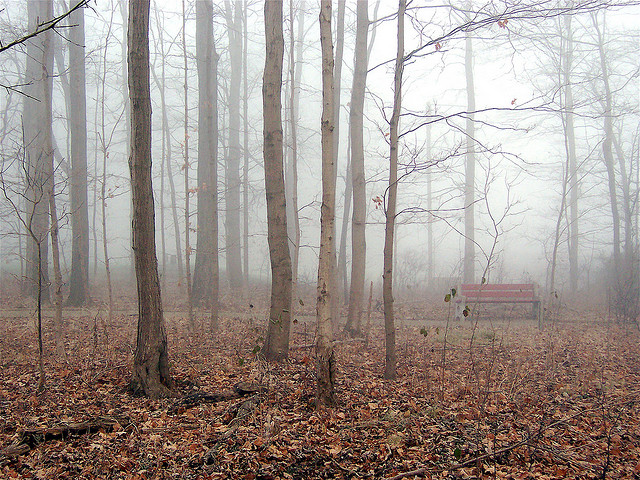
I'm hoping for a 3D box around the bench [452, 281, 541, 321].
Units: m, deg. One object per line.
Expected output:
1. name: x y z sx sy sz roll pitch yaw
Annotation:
1. bench: 6.450 2.288 23.325 2.791 1.324 1.075 -2 5 13
